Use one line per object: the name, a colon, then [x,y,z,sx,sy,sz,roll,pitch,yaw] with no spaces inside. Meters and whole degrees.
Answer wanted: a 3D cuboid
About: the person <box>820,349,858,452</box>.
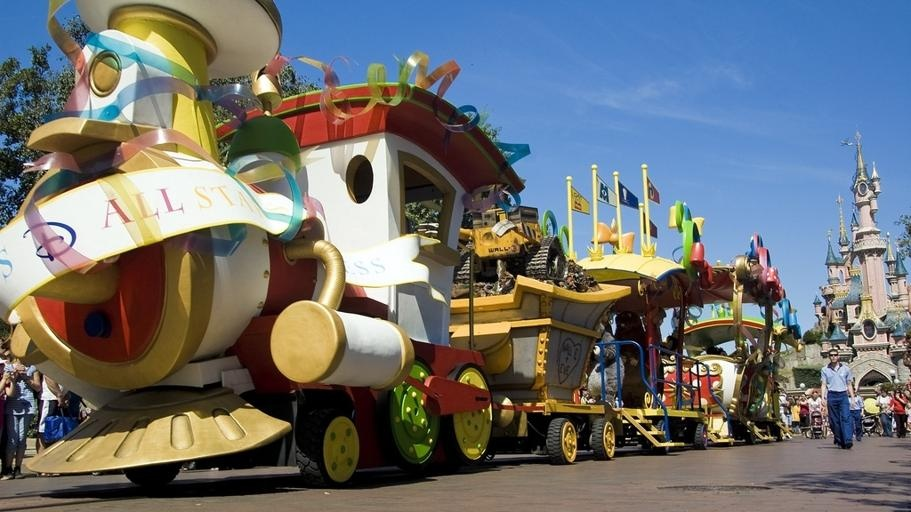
person: [8.379,3.140,17.206,0.621,2.077,0.668,2,-8,-38]
